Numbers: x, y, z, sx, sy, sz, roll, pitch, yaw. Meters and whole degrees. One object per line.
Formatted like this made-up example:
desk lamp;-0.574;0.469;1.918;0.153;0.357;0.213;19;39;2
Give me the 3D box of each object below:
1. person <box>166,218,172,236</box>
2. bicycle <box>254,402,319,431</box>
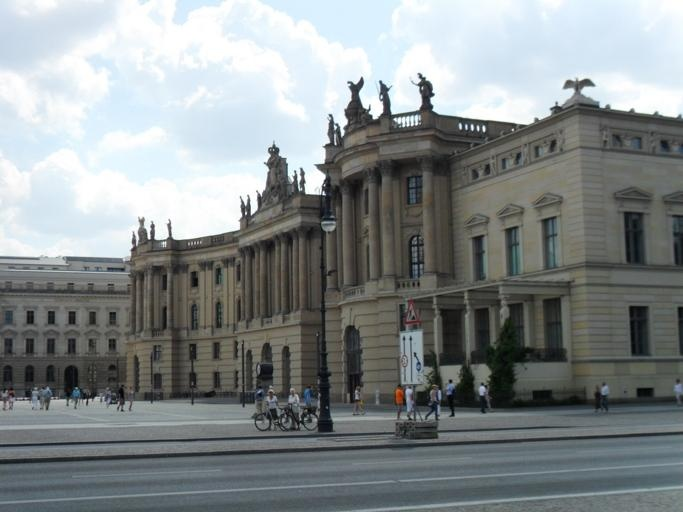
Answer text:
person;-19.180;-3.031;124.565;0.262;1.779;0.942;4;-13;-22
bicycle;-2.524;7.671;52.851;3.105;1.617;1.314;1;-8;-2
